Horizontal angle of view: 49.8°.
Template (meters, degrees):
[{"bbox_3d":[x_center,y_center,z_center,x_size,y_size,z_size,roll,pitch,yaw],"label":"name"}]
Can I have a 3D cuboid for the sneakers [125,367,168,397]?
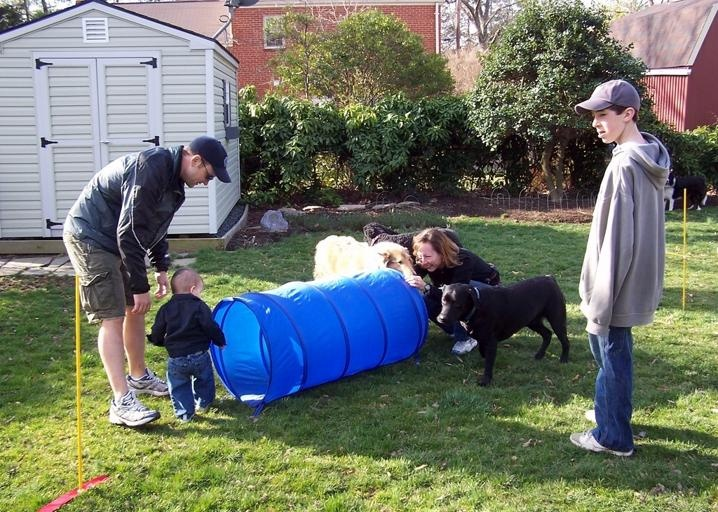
[{"bbox_3d":[-2.094,1.292,7.874,0.515,0.270,0.191,16,11,-13],"label":"sneakers"}]

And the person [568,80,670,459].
[{"bbox_3d":[2.330,0.127,6.891,0.729,3.285,0.690,1,14,4],"label":"person"}]

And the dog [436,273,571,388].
[{"bbox_3d":[1.572,0.769,8.338,1.656,1.106,0.499,-9,13,-25],"label":"dog"}]

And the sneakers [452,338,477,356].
[{"bbox_3d":[1.164,1.024,8.698,0.144,0.142,0.322,-15,-3,44],"label":"sneakers"}]

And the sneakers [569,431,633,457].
[{"bbox_3d":[2.190,1.700,7.079,0.542,0.235,0.208,10,4,30],"label":"sneakers"}]

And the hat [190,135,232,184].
[{"bbox_3d":[-1.368,-0.909,7.299,0.401,0.415,0.290,8,16,28],"label":"hat"}]

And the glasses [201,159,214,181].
[{"bbox_3d":[-1.436,-0.795,7.289,0.037,0.149,0.138,-3,-4,21],"label":"glasses"}]

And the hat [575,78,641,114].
[{"bbox_3d":[2.264,-1.394,6.891,0.555,0.326,0.364,7,3,25],"label":"hat"}]

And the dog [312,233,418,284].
[{"bbox_3d":[0.029,-0.004,9.188,1.301,0.624,0.489,11,34,43],"label":"dog"}]
